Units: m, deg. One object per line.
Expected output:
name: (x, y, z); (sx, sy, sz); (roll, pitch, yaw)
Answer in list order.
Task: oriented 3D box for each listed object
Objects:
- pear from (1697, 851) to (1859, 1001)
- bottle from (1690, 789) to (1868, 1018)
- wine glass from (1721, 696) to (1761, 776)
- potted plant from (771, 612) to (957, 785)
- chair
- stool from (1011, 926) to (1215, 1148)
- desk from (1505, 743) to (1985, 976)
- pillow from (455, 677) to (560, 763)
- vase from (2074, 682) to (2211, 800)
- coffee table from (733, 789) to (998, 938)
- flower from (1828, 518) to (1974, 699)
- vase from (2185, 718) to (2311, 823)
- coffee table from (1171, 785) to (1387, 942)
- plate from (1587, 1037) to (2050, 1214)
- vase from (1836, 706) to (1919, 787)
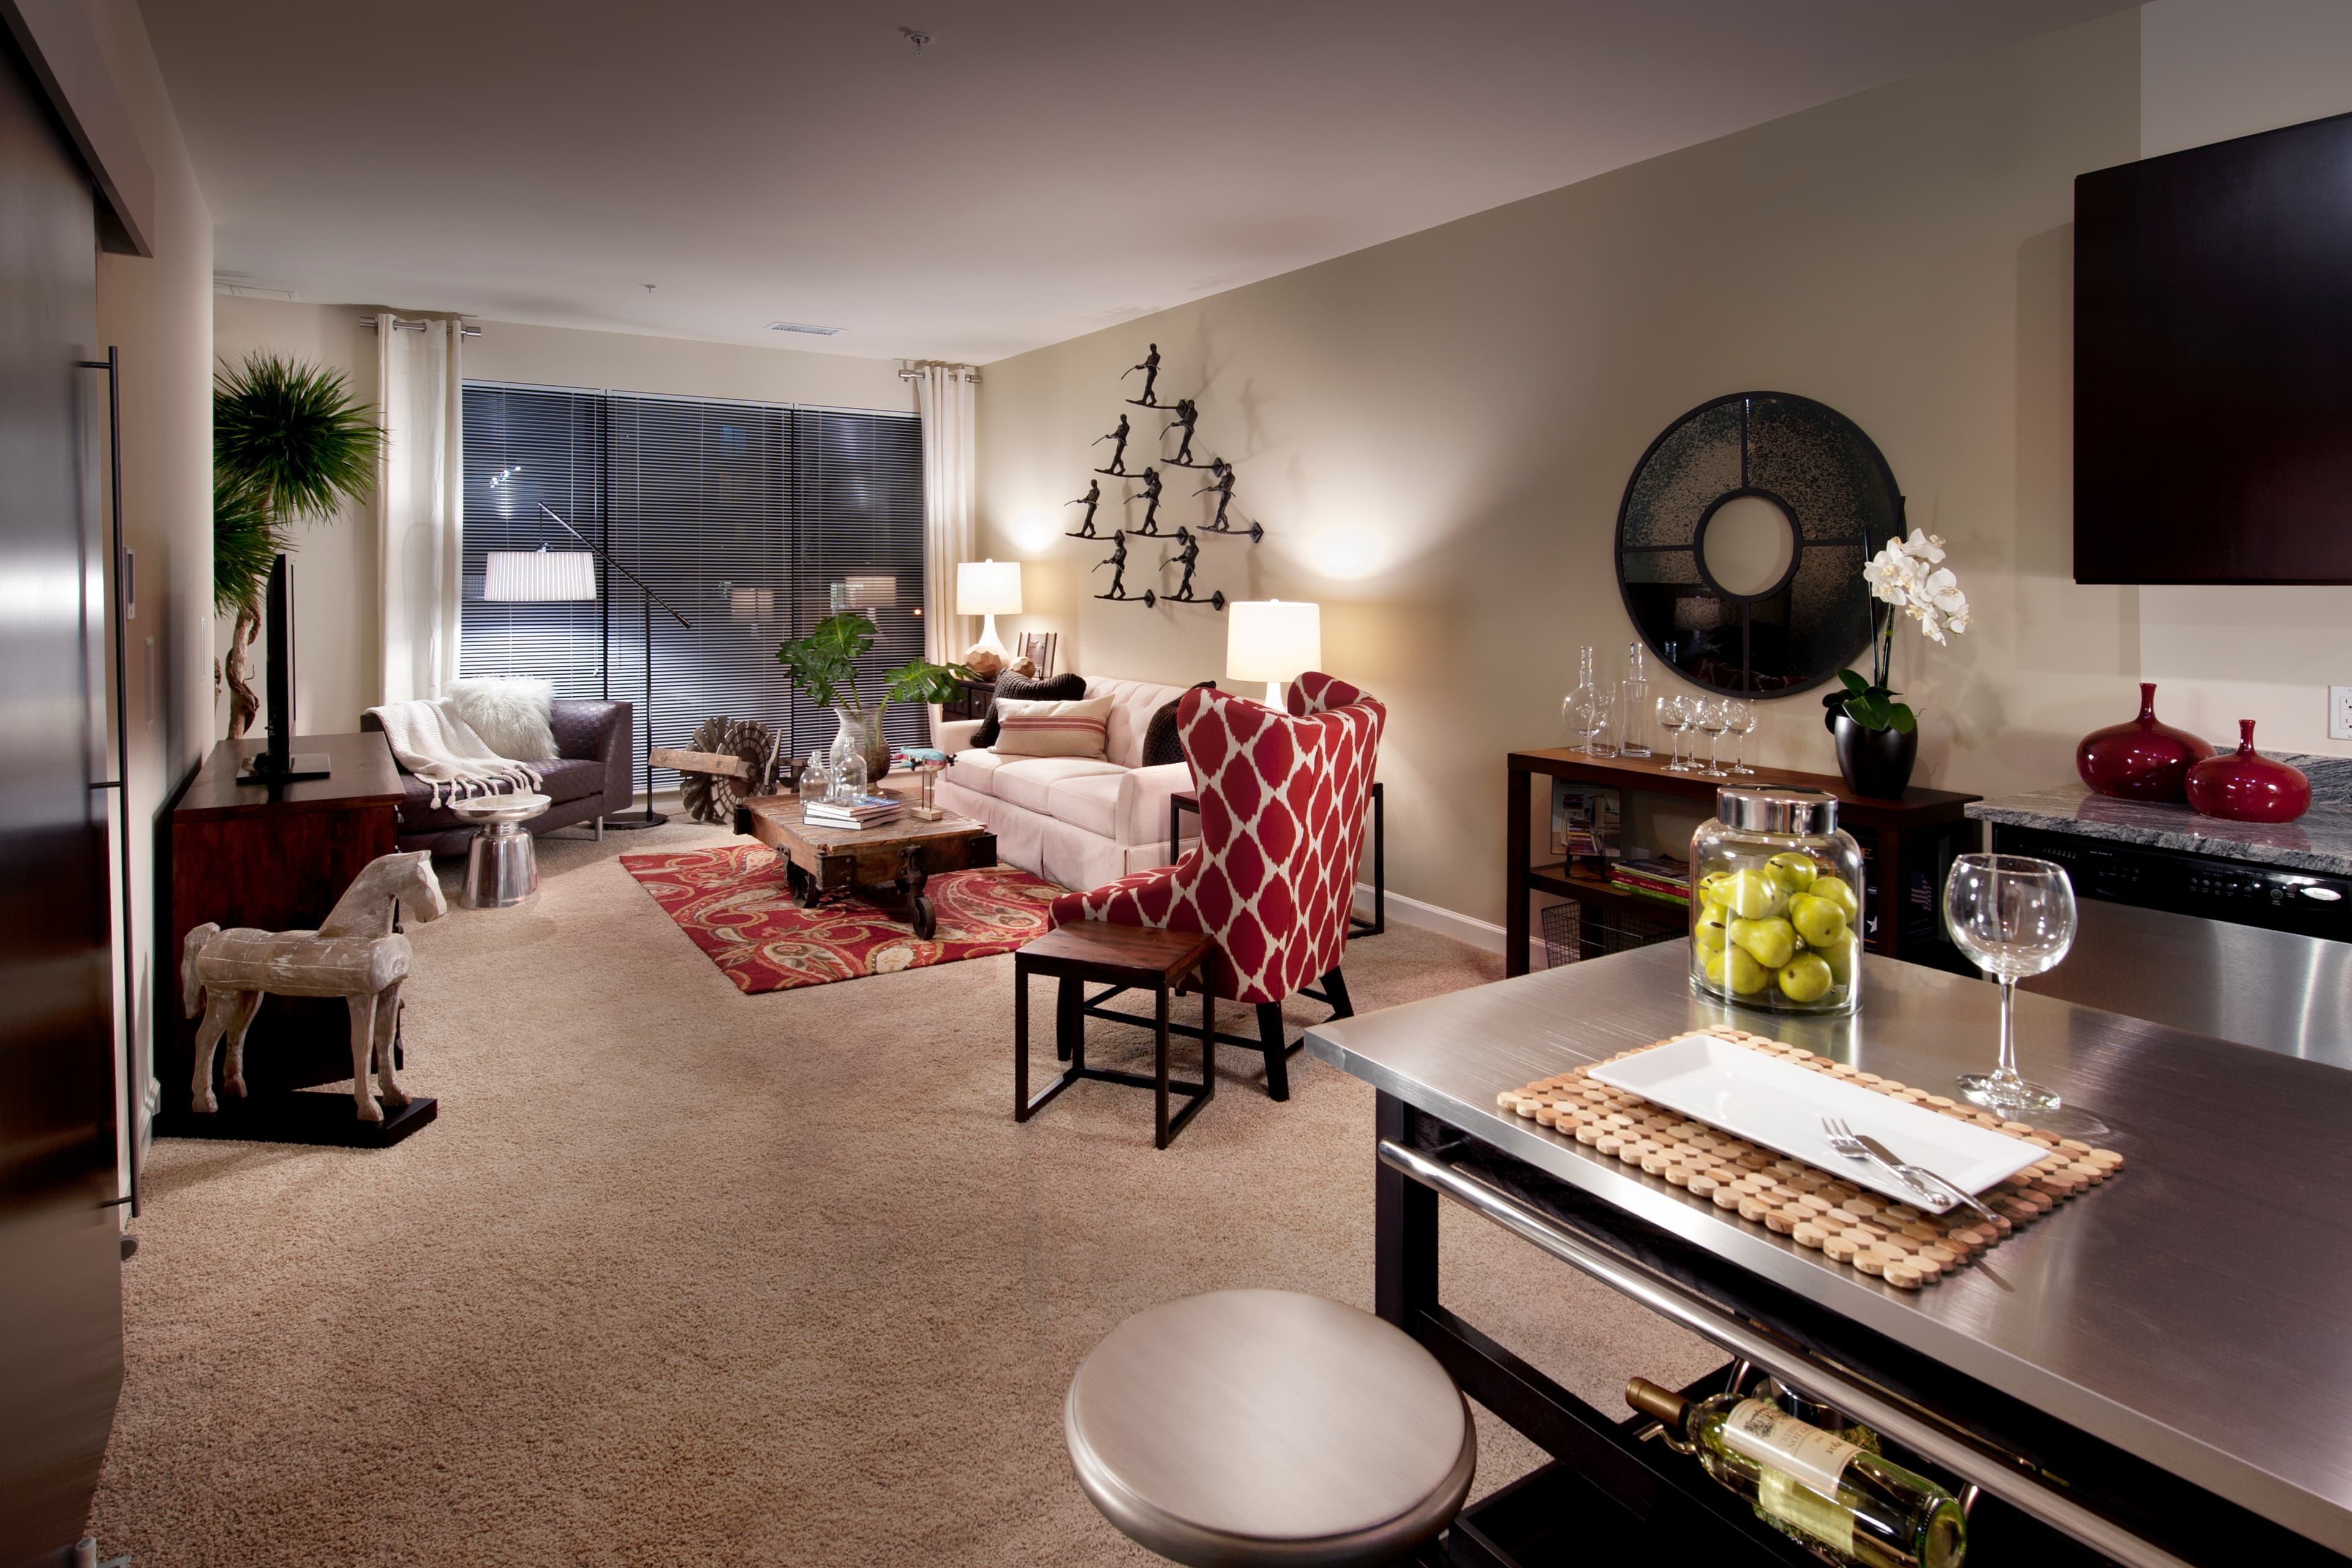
pear: (0.984, 0.217, 2.444); (0.236, 0.229, 0.240); (1, 2, 36)
bottle: (1.035, 0.187, 2.504); (0.289, 0.336, 0.293); (3, 11, 24)
wine glass: (1.899, -0.160, 4.957); (0.136, 0.240, 0.269); (1, 6, 13)
potted plant: (-1.475, -0.363, 6.814); (0.702, 0.787, 0.819); (0, 4, 26)
chair: (0.153, 0.282, 5.036); (1.157, 1.487, 1.231); (3, 3, 30)
stool: (-0.182, 0.708, 4.296); (0.488, 0.505, 0.397); (3, 10, 18)
desk: (1.800, 0.242, 4.962); (1.349, 0.815, 0.395); (-12, -3, 37)
pillow: (-3.461, -0.303, 7.512); (0.487, 0.415, 0.342); (-3, 7, -26)
vase: (2.572, -0.116, 3.891); (0.274, 0.271, 0.278); (2, 13, 26)
coffee table: (-1.314, 0.329, 6.200); (0.708, 0.502, 0.989); (-4, 7, -31)
flower: (2.152, -0.449, 4.347); (0.345, 0.479, 0.284); (0, 34, 3)
vase: (2.668, -0.025, 3.654); (0.260, 0.253, 0.262); (3, 4, 38)
coffee table: (0.548, 0.393, 6.306); (0.840, 0.914, 0.661); (4, 7, 39)
plate: (0.918, 0.478, 2.114); (0.257, 0.042, 0.379); (-10, 16, -38)
vase: (2.036, -0.110, 4.387); (0.220, 0.251, 0.218); (-1, 5, -22)
